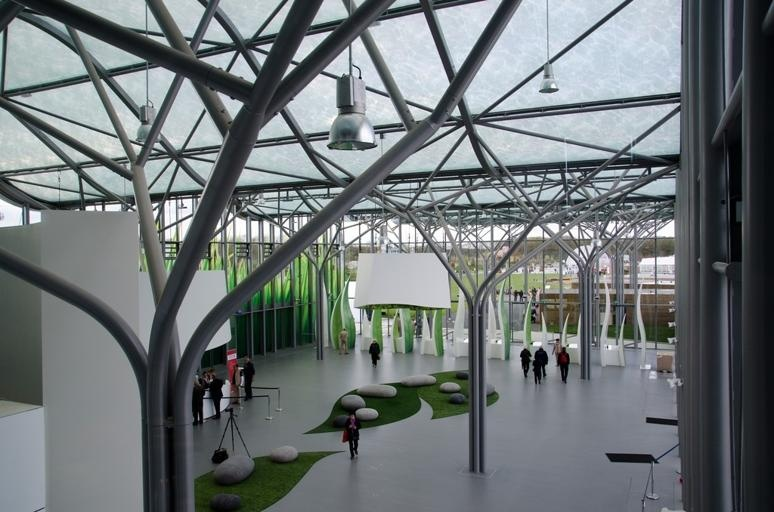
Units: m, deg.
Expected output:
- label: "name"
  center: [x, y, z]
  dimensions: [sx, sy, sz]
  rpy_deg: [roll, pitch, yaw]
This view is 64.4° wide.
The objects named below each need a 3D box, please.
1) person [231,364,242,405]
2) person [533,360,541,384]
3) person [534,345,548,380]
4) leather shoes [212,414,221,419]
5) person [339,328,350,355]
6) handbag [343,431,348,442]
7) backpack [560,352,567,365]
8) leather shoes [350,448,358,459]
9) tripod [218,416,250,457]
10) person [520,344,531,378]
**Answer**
- label: "person"
  center: [-6.248, 5.276, 25.310]
  dimensions: [0.332, 1.441, 0.947]
  rpy_deg: [-1, 4, -16]
- label: "person"
  center: [7.044, 5.319, 28.853]
  dimensions: [0.379, 1.170, 1.235]
  rpy_deg: [1, 4, 15]
- label: "person"
  center: [7.150, 4.864, 28.721]
  dimensions: [0.513, 1.651, 0.485]
  rpy_deg: [-6, 14, -1]
- label: "leather shoes"
  center: [-6.451, 6.025, 23.164]
  dimensions: [0.334, 0.260, 0.149]
  rpy_deg: [5, -1, 21]
- label: "person"
  center: [-2.698, 5.207, 37.906]
  dimensions: [0.525, 1.363, 1.753]
  rpy_deg: [0, 4, -5]
- label: "handbag"
  center: [-1.269, 5.459, 18.644]
  dimensions: [0.165, 0.383, 0.450]
  rpy_deg: [0, 4, -7]
- label: "backpack"
  center: [8.244, 4.753, 28.859]
  dimensions: [0.384, 0.588, 0.363]
  rpy_deg: [1, 4, 19]
- label: "leather shoes"
  center: [-1.051, 6.046, 18.967]
  dimensions: [0.216, 0.348, 0.278]
  rpy_deg: [-6, 1, 34]
- label: "tripod"
  center: [-5.133, 6.078, 20.595]
  dimensions: [1.071, 1.543, 0.933]
  rpy_deg: [-4, -17, 0]
- label: "person"
  center: [6.795, 5.174, 30.361]
  dimensions: [0.364, 1.406, 0.987]
  rpy_deg: [1, 4, 19]
